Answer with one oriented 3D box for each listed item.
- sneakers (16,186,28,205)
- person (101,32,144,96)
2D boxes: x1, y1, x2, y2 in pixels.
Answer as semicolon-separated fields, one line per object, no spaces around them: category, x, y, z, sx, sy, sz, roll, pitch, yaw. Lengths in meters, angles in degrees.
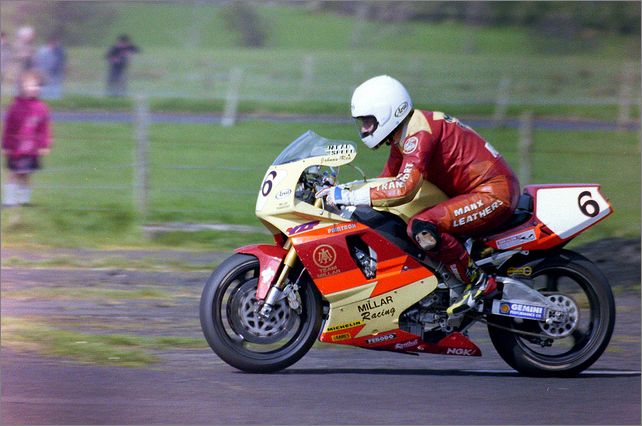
sneakers;-4.693;-0.264;19.428;0.205;0.255;0.130;-19;14;-42
person;-3.337;-2.452;20.509;0.532;0.892;0.945;-1;16;-1
